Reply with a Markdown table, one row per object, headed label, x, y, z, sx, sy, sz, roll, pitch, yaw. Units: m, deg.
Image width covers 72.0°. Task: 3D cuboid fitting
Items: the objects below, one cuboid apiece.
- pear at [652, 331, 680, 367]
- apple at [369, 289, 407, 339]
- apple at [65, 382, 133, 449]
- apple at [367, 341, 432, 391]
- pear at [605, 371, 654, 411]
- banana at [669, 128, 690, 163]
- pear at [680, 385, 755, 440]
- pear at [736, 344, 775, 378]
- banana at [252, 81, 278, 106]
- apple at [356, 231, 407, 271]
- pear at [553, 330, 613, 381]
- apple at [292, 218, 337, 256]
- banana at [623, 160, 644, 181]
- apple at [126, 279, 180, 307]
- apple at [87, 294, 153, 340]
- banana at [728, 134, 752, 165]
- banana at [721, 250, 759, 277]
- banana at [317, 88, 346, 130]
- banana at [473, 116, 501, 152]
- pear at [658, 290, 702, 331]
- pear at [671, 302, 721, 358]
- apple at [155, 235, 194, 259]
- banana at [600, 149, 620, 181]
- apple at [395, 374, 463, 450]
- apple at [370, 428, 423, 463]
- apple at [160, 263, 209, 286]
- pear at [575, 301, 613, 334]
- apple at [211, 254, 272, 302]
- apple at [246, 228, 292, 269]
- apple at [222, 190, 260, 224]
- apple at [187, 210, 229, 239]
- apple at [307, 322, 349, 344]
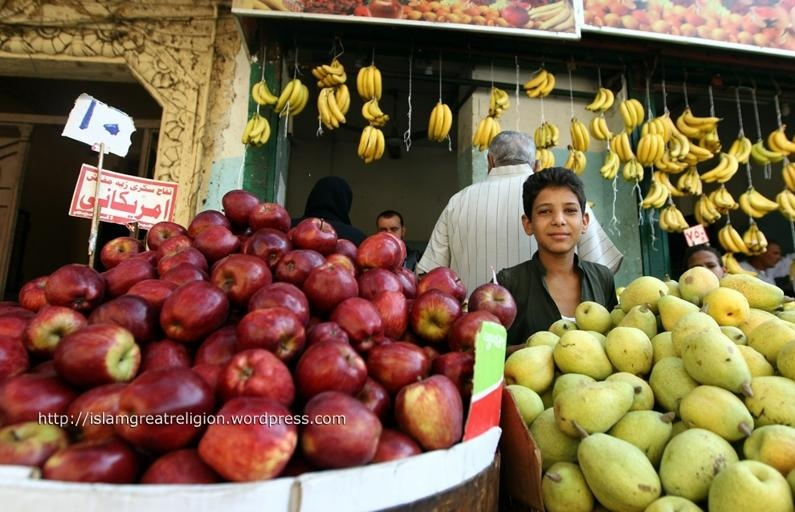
| label | x | y | z | sx | sy | sz | roll | pitch | yaw |
| --- | --- | --- | --- | --- | --- | --- | --- | --- | --- |
| pear | 1.313 | 0.464 | 2.729 | 0.125 | 0.168 | 0.134 | -2 | 7 | -3 |
| apple | -0.025 | 0.235 | 2.449 | 0.176 | 0.236 | 0.189 | -2 | 8 | -41 |
| apple | -1.113 | 0.576 | 2.106 | 0.220 | 0.195 | 0.187 | -11 | -1 | 6 |
| apple | 0.007 | 0.450 | 2.253 | 0.234 | 0.203 | 0.200 | -2 | 23 | -12 |
| pear | 1.102 | 0.667 | 2.647 | 0.172 | 0.196 | 0.176 | 21 | -33 | -2 |
| banana | 2.958 | -1.185 | 5.811 | 0.169 | 0.103 | 0.392 | 6 | 40 | 0 |
| pear | 1.430 | 0.700 | 2.518 | 0.262 | 0.182 | 0.206 | 18 | 1 | 6 |
| pear | 1.697 | 0.506 | 2.644 | 0.108 | 0.184 | 0.103 | -9 | -27 | -46 |
| banana | -1.316 | -1.650 | 5.505 | 0.173 | 0.301 | 0.108 | -31 | -36 | -5 |
| apple | -0.085 | -0.021 | 2.714 | 0.186 | 0.188 | 0.229 | -12 | 13 | 23 |
| pear | 0.910 | 0.500 | 2.800 | 0.260 | 0.209 | 0.209 | 30 | 5 | -3 |
| apple | -0.406 | -0.102 | 2.758 | 0.183 | 0.223 | 0.185 | 24 | -4 | -5 |
| banana | 2.473 | -0.866 | 5.787 | 0.171 | 0.253 | 0.109 | -20 | -32 | 7 |
| apple | -1.062 | 0.148 | 2.376 | 0.158 | 0.103 | 0.126 | 0 | 8 | -8 |
| apple | -1.136 | 0.257 | 2.295 | 0.215 | 0.187 | 0.168 | -9 | -7 | -10 |
| banana | 3.867 | -1.208 | 6.195 | 0.150 | 0.442 | 0.228 | 41 | -33 | -26 |
| banana | 3.911 | 0.092 | 6.260 | 0.277 | 0.085 | 0.179 | 44 | 31 | 15 |
| banana | -0.663 | -1.521 | 5.435 | 0.154 | 0.499 | 0.216 | 15 | -44 | -32 |
| banana | 0.910 | -1.277 | 5.700 | 0.226 | 0.472 | 0.149 | 19 | -9 | -7 |
| pear | 1.444 | 0.291 | 2.816 | 0.108 | 0.162 | 0.111 | -21 | -30 | -10 |
| pear | 1.420 | 0.353 | 2.665 | 0.205 | 0.257 | 0.209 | 12 | -6 | -12 |
| apple | -1.081 | -0.049 | 2.668 | 0.121 | 0.138 | 0.129 | 5 | 16 | 2 |
| banana | 2.258 | -1.008 | 5.853 | 0.208 | 0.191 | 0.460 | 16 | 42 | 7 |
| apple | 0.124 | 0.663 | 2.272 | 0.254 | 0.276 | 0.258 | -35 | -12 | -20 |
| apple | -0.009 | 0.738 | 2.100 | 0.134 | 0.112 | 0.108 | 12 | 45 | 14 |
| apple | -0.955 | 0.061 | 2.426 | 0.143 | 0.092 | 0.112 | -14 | 20 | -36 |
| pear | 1.060 | 0.341 | 2.980 | 0.193 | 0.170 | 0.153 | 5 | 2 | 23 |
| apple | -0.708 | 0.105 | 2.484 | 0.213 | 0.218 | 0.216 | 0 | 43 | -36 |
| apple | -0.616 | -0.047 | 2.660 | 0.169 | 0.193 | 0.207 | -15 | -18 | -26 |
| apple | -0.816 | -0.265 | 2.847 | 0.176 | 0.183 | 0.167 | 14 | 3 | -29 |
| apple | -0.971 | -0.175 | 2.798 | 0.158 | 0.169 | 0.155 | 18 | -4 | 2 |
| apple | -0.284 | 0.323 | 2.260 | 0.100 | 0.135 | 0.107 | 7 | 21 | -39 |
